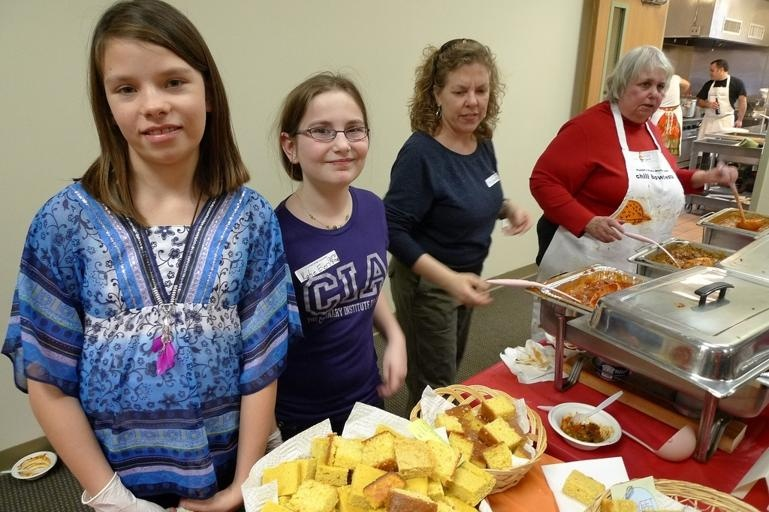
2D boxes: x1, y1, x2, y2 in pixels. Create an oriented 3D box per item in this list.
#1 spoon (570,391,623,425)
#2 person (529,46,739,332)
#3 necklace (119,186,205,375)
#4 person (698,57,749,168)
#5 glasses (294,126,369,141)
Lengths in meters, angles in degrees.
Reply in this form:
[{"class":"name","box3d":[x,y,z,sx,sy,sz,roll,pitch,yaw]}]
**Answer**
[{"class":"spoon","box3d":[0.791,0.569,2.007,0.155,0.022,0.030,-33,61,-13]},{"class":"person","box3d":[1.426,-0.192,3.255,1.019,1.929,0.845,-7,22,1]},{"class":"necklace","box3d":[-0.664,0.117,1.665,0.172,0.463,0.152,-8,18,-6]},{"class":"person","box3d":[4.680,-1.947,7.550,0.552,1.465,0.414,11,40,38]},{"class":"glasses","box3d":[-0.176,-0.439,1.935,0.248,0.065,0.068,-9,17,-11]}]
